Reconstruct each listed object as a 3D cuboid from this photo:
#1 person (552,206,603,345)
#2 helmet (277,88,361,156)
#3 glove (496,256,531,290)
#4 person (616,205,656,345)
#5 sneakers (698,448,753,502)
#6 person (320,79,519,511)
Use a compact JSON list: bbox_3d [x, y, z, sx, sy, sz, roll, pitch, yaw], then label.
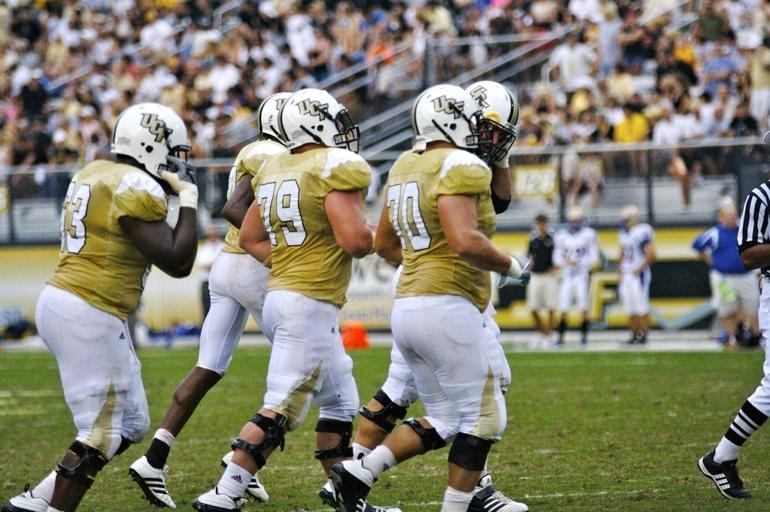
[{"bbox_3d":[2.523,0.123,15.177,0.578,1.565,0.838,0,0,8],"label":"person"},{"bbox_3d":[-0.568,-1.153,9.775,0.694,0.501,0.561,-11,10,-37],"label":"helmet"},{"bbox_3d":[1.203,0.144,10.751,0.358,0.145,0.366,-14,30,10],"label":"glove"},{"bbox_3d":[2.161,0.151,9.883,0.298,1.180,0.324,0,0,18],"label":"person"},{"bbox_3d":[2.878,1.847,9.811,0.532,0.253,0.211,43,18,13],"label":"sneakers"},{"bbox_3d":[0.472,0.359,9.400,1.366,3.490,0.807,0,0,6],"label":"person"}]
